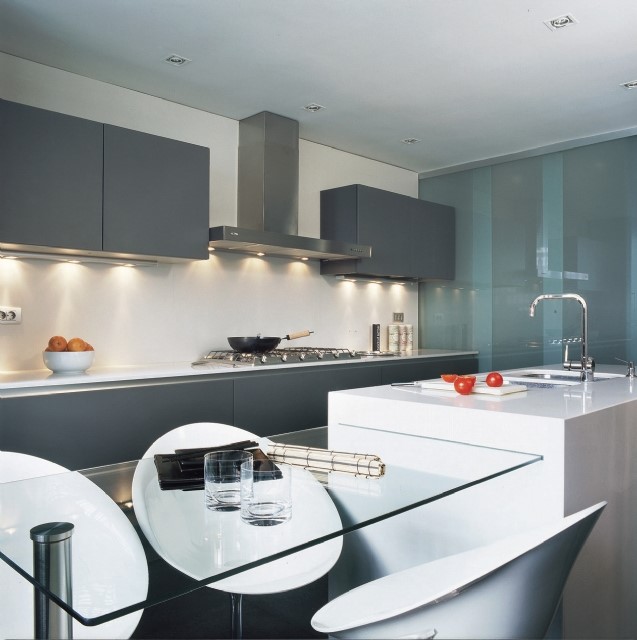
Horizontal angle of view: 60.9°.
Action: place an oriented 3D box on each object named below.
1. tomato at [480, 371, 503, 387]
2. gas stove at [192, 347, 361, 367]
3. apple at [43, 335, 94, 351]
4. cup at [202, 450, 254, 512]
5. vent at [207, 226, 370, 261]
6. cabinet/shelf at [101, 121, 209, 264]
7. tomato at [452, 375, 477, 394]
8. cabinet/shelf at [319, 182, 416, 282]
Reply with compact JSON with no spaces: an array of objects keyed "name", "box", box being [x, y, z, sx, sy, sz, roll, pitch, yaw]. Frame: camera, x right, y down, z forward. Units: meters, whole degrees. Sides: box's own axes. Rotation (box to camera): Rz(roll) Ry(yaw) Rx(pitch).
[{"name":"tomato","box":[0.675,0.225,2.075,0.051,0.042,0.066,-8,-5,17]},{"name":"gas stove","box":[-0.315,0.253,3.825,1.307,0.093,0.558,-3,1,-40]},{"name":"apple","box":[-1.326,0.126,2.874,0.186,0.083,0.163,-2,1,10]},{"name":"cup","box":[-0.185,0.312,1.073,0.094,0.118,0.104,0,-5,2]},{"name":"vent","box":[-0.249,-0.542,3.990,1.387,0.149,0.421,-3,1,-44]},{"name":"cabinet/shelf","box":[-0.952,-0.705,3.122,0.832,0.865,0.264,-2,4,-44]},{"name":"tomato","box":[0.556,0.238,2.050,0.072,0.069,0.059,-9,37,19]},{"name":"cabinet/shelf","box":[0.388,-0.722,4.487,0.255,0.545,0.824,-2,-4,40]}]
